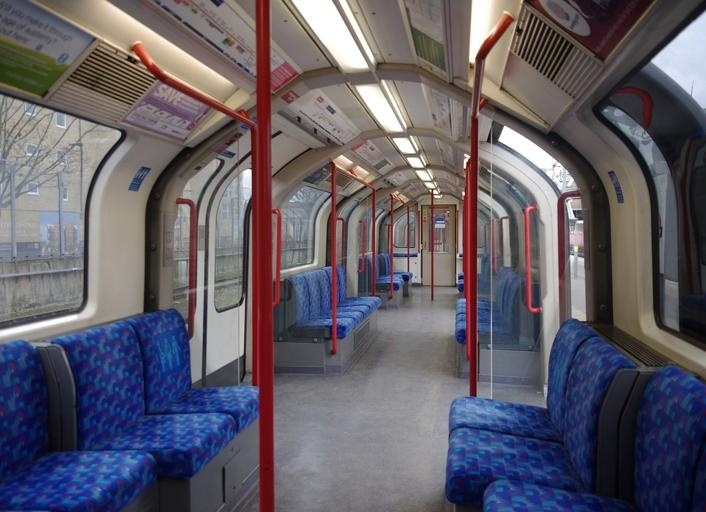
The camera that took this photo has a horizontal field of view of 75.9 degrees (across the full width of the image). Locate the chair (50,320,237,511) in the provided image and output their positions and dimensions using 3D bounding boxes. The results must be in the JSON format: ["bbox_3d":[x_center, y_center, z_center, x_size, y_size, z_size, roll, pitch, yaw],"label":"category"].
[{"bbox_3d":[-1.348,1.102,3.384,0.922,1.296,1.332,0,0,4],"label":"chair"}]
